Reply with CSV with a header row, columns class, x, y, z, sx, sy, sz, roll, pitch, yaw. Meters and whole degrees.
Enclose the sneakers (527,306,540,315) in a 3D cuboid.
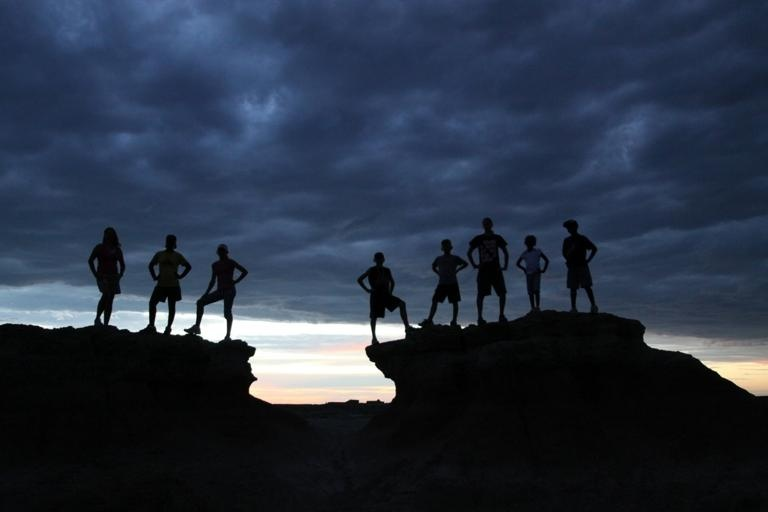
class,x,y,z,sx,sy,sz,roll,pitch,yaw
sneakers,3.753,1.354,16.222,0.265,0.233,0.484,3,3,9
